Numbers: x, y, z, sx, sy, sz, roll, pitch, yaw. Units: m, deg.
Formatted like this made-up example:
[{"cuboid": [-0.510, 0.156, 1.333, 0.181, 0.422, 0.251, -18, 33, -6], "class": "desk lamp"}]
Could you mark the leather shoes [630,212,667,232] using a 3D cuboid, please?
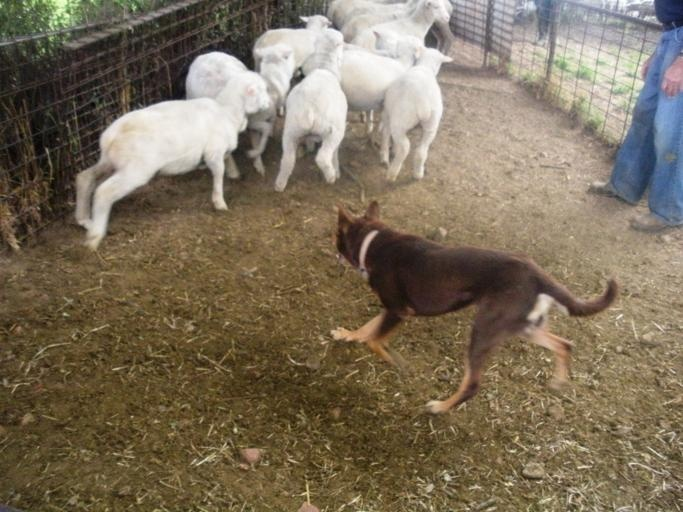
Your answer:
[{"cuboid": [3.411, -0.370, 6.336, 0.328, 0.144, 0.185, -1, 44, 28], "class": "leather shoes"}]

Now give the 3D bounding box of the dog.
[{"cuboid": [0.784, 0.472, 4.254, 2.021, 1.349, 0.597, 24, 34, 25], "class": "dog"}]

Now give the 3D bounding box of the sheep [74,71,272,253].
[{"cuboid": [-1.852, -0.991, 6.115, 2.261, 1.427, 0.660, -26, 58, -40], "class": "sheep"}]
